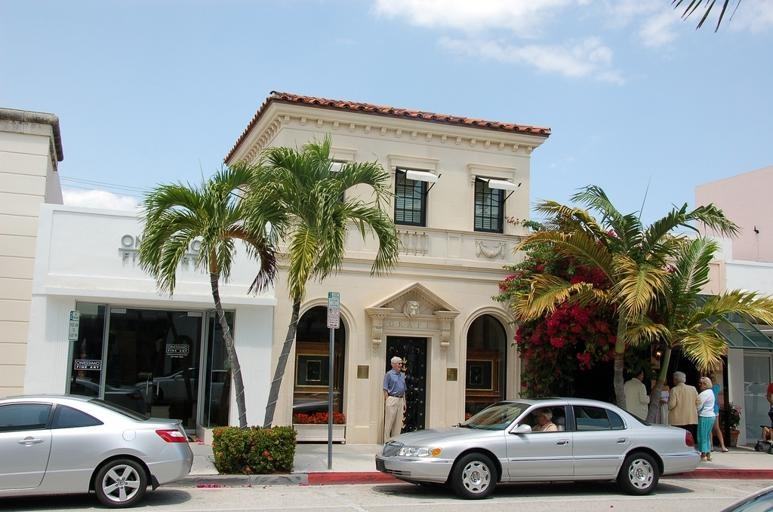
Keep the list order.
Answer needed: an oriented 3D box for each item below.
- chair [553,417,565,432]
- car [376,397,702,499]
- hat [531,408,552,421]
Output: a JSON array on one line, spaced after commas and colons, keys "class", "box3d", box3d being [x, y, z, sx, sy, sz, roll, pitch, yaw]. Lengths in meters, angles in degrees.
[{"class": "chair", "box3d": [3.678, 3.549, 14.751, 0.225, 0.224, 0.228, 2, -5, -18]}, {"class": "car", "box3d": [3.246, 4.057, 14.793, 6.413, 2.058, 0.891, 5, -12, -12]}, {"class": "hat", "box3d": [3.303, 3.349, 14.845, 0.346, 0.273, 0.249, -6, -1, -3]}]
